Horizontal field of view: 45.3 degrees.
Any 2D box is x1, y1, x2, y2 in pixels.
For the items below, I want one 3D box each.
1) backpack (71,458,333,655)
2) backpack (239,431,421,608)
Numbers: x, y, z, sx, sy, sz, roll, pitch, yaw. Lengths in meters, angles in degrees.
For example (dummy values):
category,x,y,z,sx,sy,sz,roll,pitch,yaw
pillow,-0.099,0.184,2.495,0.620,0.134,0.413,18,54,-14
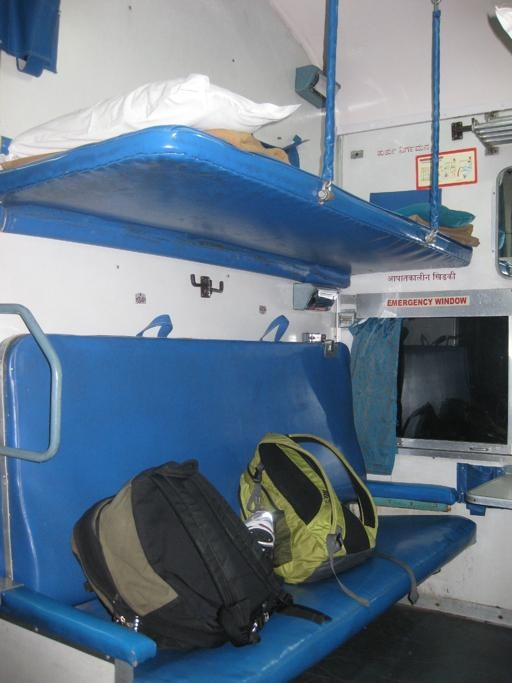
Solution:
category,x,y,z,sx,sy,sz,roll,pitch,yaw
backpack,-0.176,0.558,1.631,0.409,0.422,0.467,-3,-8,41
backpack,0.237,0.627,2.193,0.478,0.552,0.621,26,-23,-17
